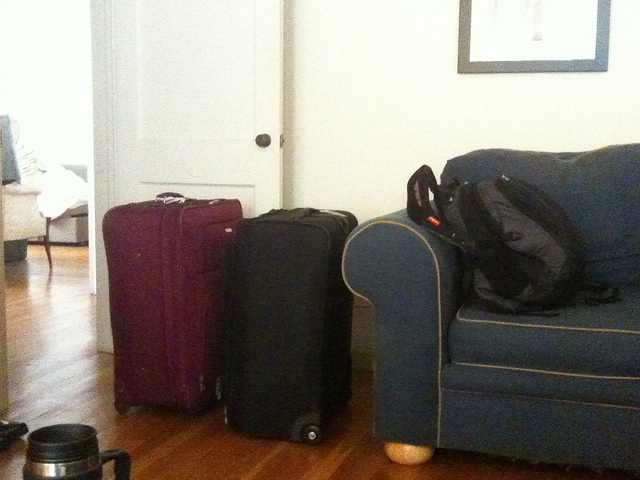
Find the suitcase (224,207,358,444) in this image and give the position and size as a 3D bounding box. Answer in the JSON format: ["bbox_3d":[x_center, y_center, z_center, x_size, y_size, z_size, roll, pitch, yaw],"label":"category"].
[{"bbox_3d":[-0.128,0.323,2.309,0.523,0.862,0.468,2,13,2],"label":"suitcase"}]

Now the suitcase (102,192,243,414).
[{"bbox_3d":[-0.597,0.283,2.406,0.538,0.869,0.352,-2,14,-15],"label":"suitcase"}]

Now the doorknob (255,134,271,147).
[{"bbox_3d":[-0.279,-0.478,2.797,0.079,0.060,0.021,2,14,6],"label":"doorknob"}]
